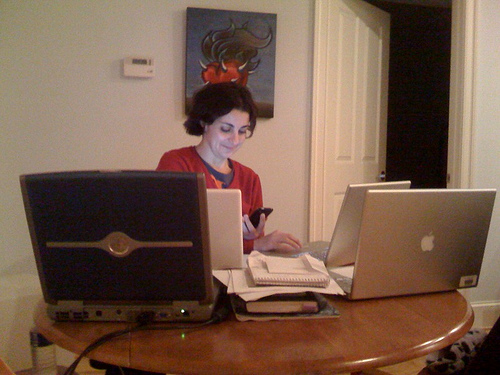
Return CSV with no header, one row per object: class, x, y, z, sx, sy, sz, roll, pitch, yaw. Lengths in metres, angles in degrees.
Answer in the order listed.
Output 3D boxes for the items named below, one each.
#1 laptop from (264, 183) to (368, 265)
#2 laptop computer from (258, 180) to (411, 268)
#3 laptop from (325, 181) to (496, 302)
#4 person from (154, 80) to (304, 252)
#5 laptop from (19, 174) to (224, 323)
laptop,0.251,0.217,1.949,0.556,0.326,0.576,-2,-12,-13
laptop computer,0.411,0.175,1.967,0.498,0.338,0.488,-1,2,-33
laptop,0.608,0.201,1.669,0.483,0.344,0.500,3,-4,-14
person,-0.086,-0.115,2.535,0.996,1.020,0.701,2,3,4
laptop,-0.400,0.203,1.637,0.533,0.479,0.557,2,2,4
